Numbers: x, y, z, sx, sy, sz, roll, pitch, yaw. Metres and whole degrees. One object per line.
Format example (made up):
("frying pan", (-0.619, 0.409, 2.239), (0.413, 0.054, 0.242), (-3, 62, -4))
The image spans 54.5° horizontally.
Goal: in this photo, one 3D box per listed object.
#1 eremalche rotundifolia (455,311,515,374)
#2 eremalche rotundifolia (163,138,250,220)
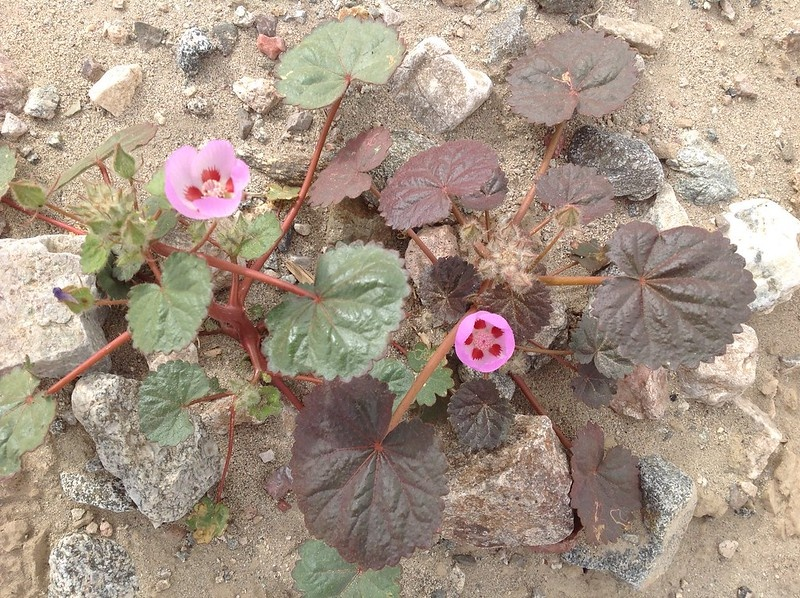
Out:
("eremalche rotundifolia", (0.520, 0.264, 4.787), (0.372, 0.376, 0.344), (31, 82, 5))
("eremalche rotundifolia", (-1.081, -0.622, 4.500), (0.432, 0.228, 0.468), (22, 76, 4))
